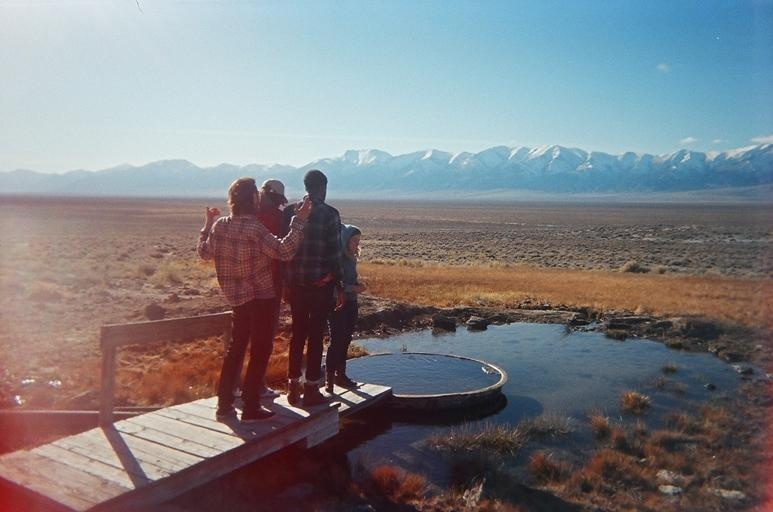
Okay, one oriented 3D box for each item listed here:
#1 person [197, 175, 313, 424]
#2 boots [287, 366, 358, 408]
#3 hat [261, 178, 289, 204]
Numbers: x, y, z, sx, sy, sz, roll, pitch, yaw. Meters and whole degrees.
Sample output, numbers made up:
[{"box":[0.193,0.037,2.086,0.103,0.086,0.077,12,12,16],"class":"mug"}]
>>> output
[{"box":[-1.836,0.578,6.966,1.421,3.188,0.609,3,9,14],"class":"person"},{"box":[-0.937,1.947,7.855,0.346,0.460,1.095,1,1,38],"class":"boots"},{"box":[-1.618,-0.964,7.832,0.454,0.246,0.304,24,1,-35],"class":"hat"}]
